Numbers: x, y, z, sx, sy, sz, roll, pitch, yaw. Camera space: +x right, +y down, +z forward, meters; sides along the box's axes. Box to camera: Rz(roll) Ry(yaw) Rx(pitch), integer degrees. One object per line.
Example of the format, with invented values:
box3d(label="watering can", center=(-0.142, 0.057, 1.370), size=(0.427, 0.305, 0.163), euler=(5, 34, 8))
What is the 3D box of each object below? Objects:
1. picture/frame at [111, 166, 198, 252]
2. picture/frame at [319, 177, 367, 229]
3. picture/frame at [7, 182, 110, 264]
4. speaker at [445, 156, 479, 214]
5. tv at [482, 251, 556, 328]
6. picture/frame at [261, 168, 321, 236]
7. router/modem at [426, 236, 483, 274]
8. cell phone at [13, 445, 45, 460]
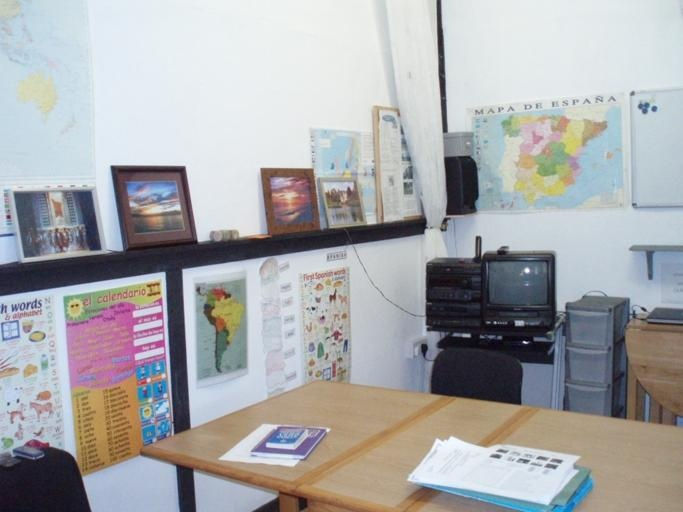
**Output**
box3d(label="picture/frame", center=(-0.924, -0.225, 2.492), size=(0.026, 0.394, 0.389), euler=(-5, 4, 43))
box3d(label="picture/frame", center=(0.019, -0.369, 3.522), size=(0.029, 0.357, 0.400), euler=(-24, 19, -38))
box3d(label="picture/frame", center=(-1.214, -0.135, 2.170), size=(0.325, 0.284, 0.032), euler=(-9, -3, -44))
box3d(label="speaker", center=(1.023, -0.595, 4.337), size=(0.295, 0.493, 0.167), euler=(-4, 5, -3))
box3d(label="tv", center=(1.293, 0.298, 3.772), size=(0.514, 0.617, 0.365), euler=(0, -20, 17))
box3d(label="picture/frame", center=(-0.302, -0.339, 3.147), size=(0.023, 0.392, 0.415), euler=(-2, 6, 45))
box3d(label="router/modem", center=(0.866, -0.017, 3.929), size=(0.396, 0.247, 0.407), euler=(-2, 6, 16))
box3d(label="cell phone", center=(-1.128, 0.696, 1.844), size=(0.082, 0.021, 0.049), euler=(6, 3, 10))
